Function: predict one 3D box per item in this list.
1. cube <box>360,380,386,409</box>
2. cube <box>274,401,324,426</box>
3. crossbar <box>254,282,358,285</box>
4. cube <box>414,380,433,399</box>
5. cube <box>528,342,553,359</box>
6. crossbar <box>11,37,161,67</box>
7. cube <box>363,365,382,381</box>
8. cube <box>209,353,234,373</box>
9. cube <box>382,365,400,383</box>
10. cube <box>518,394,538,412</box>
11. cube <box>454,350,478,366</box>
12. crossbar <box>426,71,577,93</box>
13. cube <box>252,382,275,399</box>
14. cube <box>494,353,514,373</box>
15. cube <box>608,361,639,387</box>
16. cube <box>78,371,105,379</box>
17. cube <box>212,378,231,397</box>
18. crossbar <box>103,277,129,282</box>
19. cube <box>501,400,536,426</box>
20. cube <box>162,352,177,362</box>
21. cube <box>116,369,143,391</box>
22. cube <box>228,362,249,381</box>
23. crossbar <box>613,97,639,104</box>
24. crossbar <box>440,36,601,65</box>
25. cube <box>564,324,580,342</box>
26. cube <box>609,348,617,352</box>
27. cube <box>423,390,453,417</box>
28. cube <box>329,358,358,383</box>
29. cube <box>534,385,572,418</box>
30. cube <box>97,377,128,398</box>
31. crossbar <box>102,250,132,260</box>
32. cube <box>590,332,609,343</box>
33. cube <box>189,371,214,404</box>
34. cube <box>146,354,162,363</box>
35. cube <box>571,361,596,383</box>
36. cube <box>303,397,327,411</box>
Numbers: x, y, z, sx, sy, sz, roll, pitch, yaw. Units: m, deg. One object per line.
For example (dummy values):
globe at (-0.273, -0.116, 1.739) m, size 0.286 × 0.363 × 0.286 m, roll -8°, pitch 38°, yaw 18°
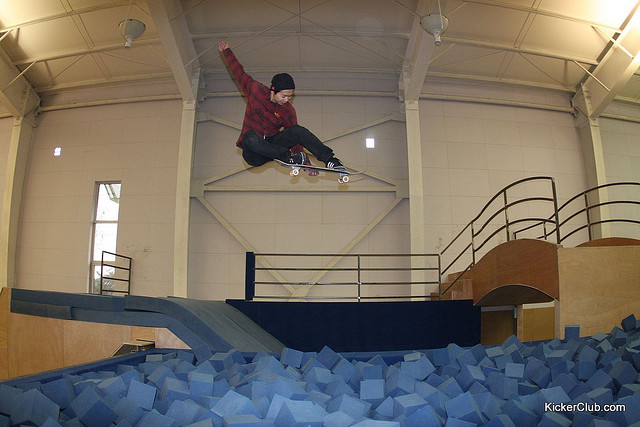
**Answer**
cube at (0.553, 1.859, 5.335) m, size 0.255 × 0.245 × 0.254 m, roll 0°, pitch 0°, yaw 2°
cube at (-0.200, 1.984, 5.066) m, size 0.301 × 0.193 × 0.305 m, roll 9°, pitch -31°, yaw -27°
crossbar at (-0.375, 1.538, 11.352) m, size 1.673 × 0.042 × 0.119 m, roll -3°, pitch -16°, yaw 12°
cube at (1.071, 1.839, 5.363) m, size 0.141 × 0.149 × 0.133 m, roll -6°, pitch -10°, yaw -38°
cube at (2.603, 1.613, 6.051) m, size 0.153 × 0.078 × 0.179 m, roll -8°, pitch -4°, yaw -30°
crossbar at (-5.828, -3.998, 12.720) m, size 4.079 × 0.254 × 0.307 m, roll -4°, pitch -13°, yaw 13°
cube at (0.579, 1.736, 5.623) m, size 0.208 × 0.148 × 0.193 m, roll -2°, pitch -13°, yaw 5°
cube at (-1.116, 1.691, 5.875) m, size 0.180 × 0.172 × 0.181 m, roll -1°, pitch 21°, yaw 15°
cube at (0.809, 1.766, 5.669) m, size 0.139 × 0.126 × 0.220 m, roll 2°, pitch -11°, yaw 9°
cube at (2.150, 1.947, 5.280) m, size 0.157 × 0.138 × 0.141 m, roll 1°, pitch -6°, yaw 0°
cube at (1.699, 1.677, 5.928) m, size 0.149 × 0.149 × 0.147 m, roll -17°, pitch -21°, yaw -29°
crossbar at (4.705, -3.386, 13.288) m, size 4.027 × 0.344 × 0.224 m, roll 1°, pitch -13°, yaw -8°
cube at (-0.581, 1.801, 5.321) m, size 0.171 × 0.176 × 0.185 m, roll -3°, pitch -8°, yaw 26°
cube at (2.115, 1.696, 5.878) m, size 0.153 × 0.151 × 0.093 m, roll -2°, pitch -3°, yaw -15°
cube at (3.278, 1.731, 5.613) m, size 0.240 × 0.249 × 0.247 m, roll -25°, pitch -28°, yaw -17°
cube at (-2.498, 1.767, 5.613) m, size 0.238 × 0.061 × 0.132 m, roll -7°, pitch -14°, yaw 27°
cube at (-1.011, 1.817, 5.465) m, size 0.196 × 0.222 × 0.155 m, roll 14°, pitch -2°, yaw -5°
crossbar at (-5.013, 1.607, 12.650) m, size 0.625 × 0.084 × 0.083 m, roll 5°, pitch -4°, yaw 4°
cube at (2.005, 2.030, 5.240) m, size 0.251 × 0.257 × 0.246 m, roll 41°, pitch -38°, yaw -9°
cube at (-1.775, 1.685, 6.047) m, size 0.062 × 0.034 × 0.094 m, roll 2°, pitch 4°, yaw 8°
cube at (-2.008, 1.762, 5.473) m, size 0.107 × 0.173 × 0.170 m, roll 28°, pitch -26°, yaw 3°
cube at (-0.930, 1.746, 5.723) m, size 0.124 × 0.053 × 0.125 m, roll 6°, pitch 23°, yaw 41°
crossbar at (8.150, -2.981, 13.561) m, size 0.764 × 0.114 × 0.073 m, roll 4°, pitch 15°, yaw 4°
crossbar at (4.805, -3.954, 12.429) m, size 3.910 × 0.499 × 0.259 m, roll 1°, pitch -13°, yaw -8°
cube at (3.255, 1.542, 6.614) m, size 0.261 × 0.251 × 0.085 m, roll 2°, pitch 1°, yaw 6°
cube at (3.573, 1.648, 6.231) m, size 0.077 × 0.051 × 0.017 m, roll 1°, pitch 3°, yaw -8°
cube at (1.208, 1.926, 5.239) m, size 0.206 × 0.219 × 0.249 m, roll 0°, pitch 11°, yaw -3°
cube at (0.266, 1.719, 5.722) m, size 0.224 × 0.223 × 0.223 m, roll 36°, pitch 49°, yaw 27°
cube at (2.395, 1.939, 5.281) m, size 0.292 × 0.288 × 0.183 m, roll 6°, pitch -22°, yaw -11°
cube at (-2.167, 1.825, 5.378) m, size 0.209 × 0.207 × 0.202 m, roll -26°, pitch -7°, yaw 12°
crossbar at (-4.996, 1.019, 12.682) m, size 0.648 × 0.049 × 0.047 m, roll 20°, pitch -11°, yaw -16°
cube at (3.586, 1.576, 6.557) m, size 0.135 × 0.041 × 0.122 m, roll 19°, pitch 40°, yaw 42°
cube at (-1.216, 1.816, 5.414) m, size 0.259 × 0.259 × 0.263 m, roll 2°, pitch 6°, yaw 0°
cube at (-1.934, 1.684, 5.965) m, size 0.133 × 0.071 × 0.088 m, roll 4°, pitch -8°, yaw 12°
cube at (2.917, 1.718, 5.642) m, size 0.216 × 0.215 × 0.135 m, roll 17°, pitch -2°, yaw 29°
cube at (-0.025, 1.939, 5.239) m, size 0.142 × 0.105 × 0.137 m, roll 1°, pitch -14°, yaw 1°
